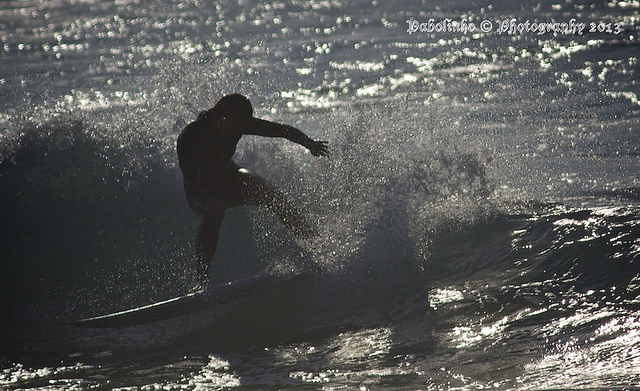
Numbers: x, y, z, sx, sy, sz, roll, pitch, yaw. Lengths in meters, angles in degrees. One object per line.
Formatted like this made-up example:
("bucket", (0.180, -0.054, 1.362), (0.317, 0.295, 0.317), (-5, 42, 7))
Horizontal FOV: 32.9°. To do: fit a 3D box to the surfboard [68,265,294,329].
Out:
("surfboard", (-2.495, 1.838, 19.187), (3.185, 0.442, 0.329), (-14, 13, -9))
